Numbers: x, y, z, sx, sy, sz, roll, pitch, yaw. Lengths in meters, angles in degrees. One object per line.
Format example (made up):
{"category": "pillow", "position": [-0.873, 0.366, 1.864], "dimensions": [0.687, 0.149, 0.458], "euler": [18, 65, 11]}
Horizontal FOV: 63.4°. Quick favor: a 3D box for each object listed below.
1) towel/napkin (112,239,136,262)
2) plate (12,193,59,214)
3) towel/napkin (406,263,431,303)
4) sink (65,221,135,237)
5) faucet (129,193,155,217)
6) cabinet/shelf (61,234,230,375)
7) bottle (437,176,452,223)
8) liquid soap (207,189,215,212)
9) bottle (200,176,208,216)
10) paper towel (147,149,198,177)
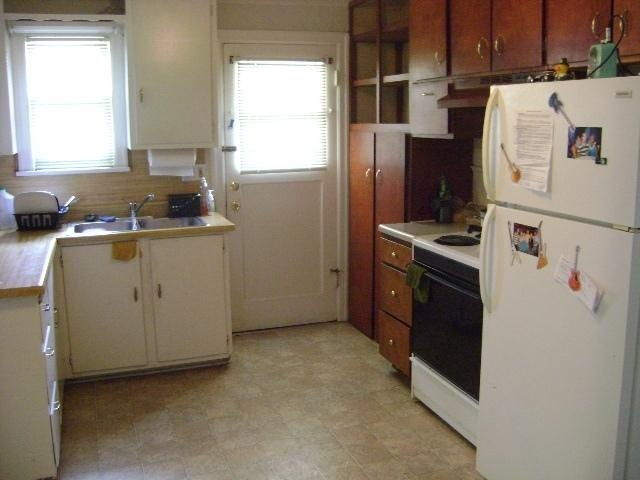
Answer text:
{"category": "towel/napkin", "position": [-1.366, 0.073, 3.609], "dimensions": [0.146, 0.150, 0.035], "euler": [-5, 11, -17]}
{"category": "plate", "position": [-2.048, -0.268, 3.722], "dimensions": [0.258, 0.197, 0.155], "euler": [-1, 17, -14]}
{"category": "towel/napkin", "position": [0.602, 0.270, 3.235], "dimensions": [0.064, 0.242, 0.235], "euler": [0, 3, -13]}
{"category": "sink", "position": [-1.645, -0.085, 3.862], "dimensions": [0.270, 0.103, 0.222], "euler": [-2, 10, -21]}
{"category": "faucet", "position": [-1.407, -0.267, 4.085], "dimensions": [0.207, 0.179, 0.145], "euler": [-5, 15, -18]}
{"category": "cabinet/shelf", "position": [-1.289, 0.450, 3.911], "dimensions": [1.167, 1.059, 0.450], "euler": [-4, 7, -18]}
{"category": "bottle", "position": [0.898, -0.290, 3.709], "dimensions": [0.113, 0.316, 0.156], "euler": [-3, 14, -8]}
{"category": "liquid soap", "position": [-0.892, -0.321, 4.247], "dimensions": [0.050, 0.171, 0.186], "euler": [-3, 14, -9]}
{"category": "bottle", "position": [-0.946, -0.369, 4.231], "dimensions": [0.062, 0.296, 0.194], "euler": [-4, 14, -12]}
{"category": "paper towel", "position": [-1.143, -0.593, 4.032], "dimensions": [0.362, 0.246, 0.272], "euler": [-6, 15, -19]}
